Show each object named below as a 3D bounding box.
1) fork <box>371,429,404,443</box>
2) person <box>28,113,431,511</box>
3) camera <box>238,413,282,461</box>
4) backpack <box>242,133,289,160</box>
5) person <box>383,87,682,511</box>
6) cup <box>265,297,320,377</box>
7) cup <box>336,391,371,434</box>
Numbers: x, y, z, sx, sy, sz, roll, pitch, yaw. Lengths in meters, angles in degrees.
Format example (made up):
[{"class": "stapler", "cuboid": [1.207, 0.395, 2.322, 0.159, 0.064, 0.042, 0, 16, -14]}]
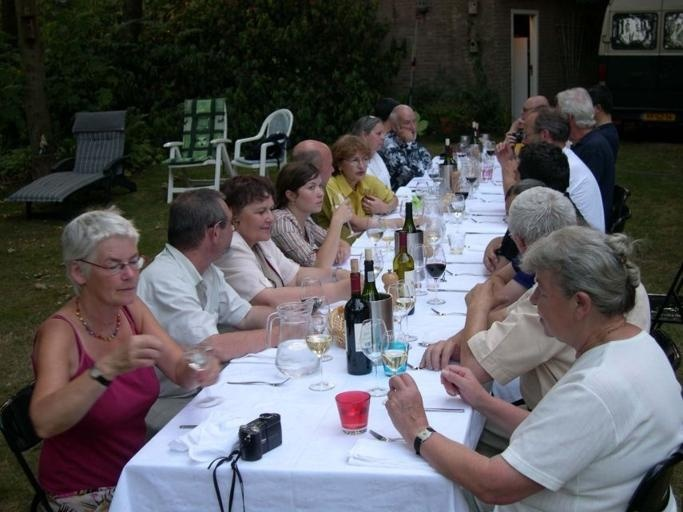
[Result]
[{"class": "fork", "cuboid": [0.151, 0.621, 2.099, 0.149, 0.039, 0.030, 4, -37, -6]}, {"class": "person", "cuboid": [-0.761, 0.198, 3.322, 1.284, 2.448, 0.954, -2, 10, -20]}, {"class": "camera", "cuboid": [-0.267, 0.607, 2.063, 0.074, 0.122, 0.147, -6, 4, 29]}, {"class": "backpack", "cuboid": [-1.173, -1.706, 9.489, 0.605, 0.537, 0.825, -4, 15, -11]}, {"class": "person", "cuboid": [0.847, 0.417, 2.949, 1.067, 1.076, 1.964, 10, 56, 27]}, {"class": "cup", "cuboid": [-0.176, 0.345, 2.552, 0.268, 0.371, 0.219, -1, 2, 3]}, {"class": "cup", "cuboid": [0.048, 0.522, 2.113, 0.122, 0.122, 0.124, -2, 7, 0]}]
